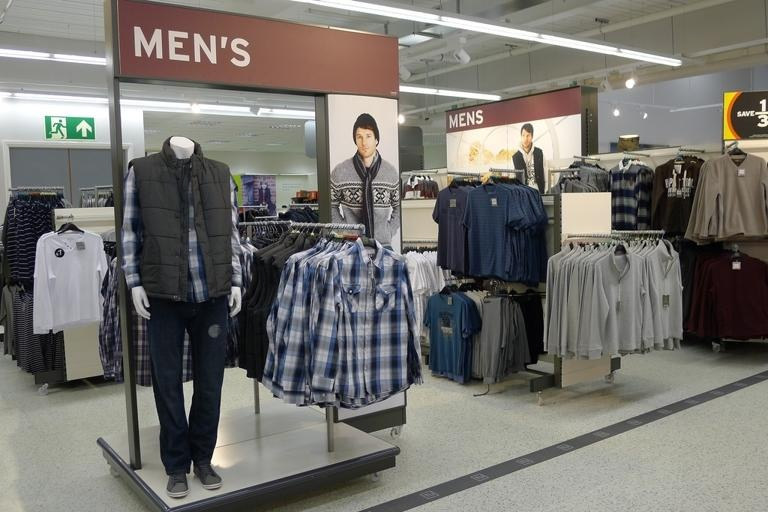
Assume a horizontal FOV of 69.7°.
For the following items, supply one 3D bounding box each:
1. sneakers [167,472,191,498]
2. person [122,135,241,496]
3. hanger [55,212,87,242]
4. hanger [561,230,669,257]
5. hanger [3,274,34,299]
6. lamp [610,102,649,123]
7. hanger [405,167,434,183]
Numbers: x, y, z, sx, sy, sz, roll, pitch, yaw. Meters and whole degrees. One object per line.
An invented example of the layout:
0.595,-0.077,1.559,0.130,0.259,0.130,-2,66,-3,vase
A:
-1.525,1.691,4.086,0.157,0.130,0.149,-4,8,-16,sneakers
-1.482,0.426,4.152,0.786,2.608,0.533,-5,8,-26,person
-3.840,-0.368,6.767,0.346,0.250,0.127,-3,-5,39,hanger
2.713,-0.206,6.329,1.579,0.193,0.714,-7,10,-34,hanger
-4.619,0.368,7.036,0.361,0.218,0.049,-2,8,8,hanger
6.934,-4.046,15.605,1.024,0.592,0.463,2,8,25,lamp
0.593,-1.383,9.508,0.439,0.197,1.072,-1,9,6,hanger
